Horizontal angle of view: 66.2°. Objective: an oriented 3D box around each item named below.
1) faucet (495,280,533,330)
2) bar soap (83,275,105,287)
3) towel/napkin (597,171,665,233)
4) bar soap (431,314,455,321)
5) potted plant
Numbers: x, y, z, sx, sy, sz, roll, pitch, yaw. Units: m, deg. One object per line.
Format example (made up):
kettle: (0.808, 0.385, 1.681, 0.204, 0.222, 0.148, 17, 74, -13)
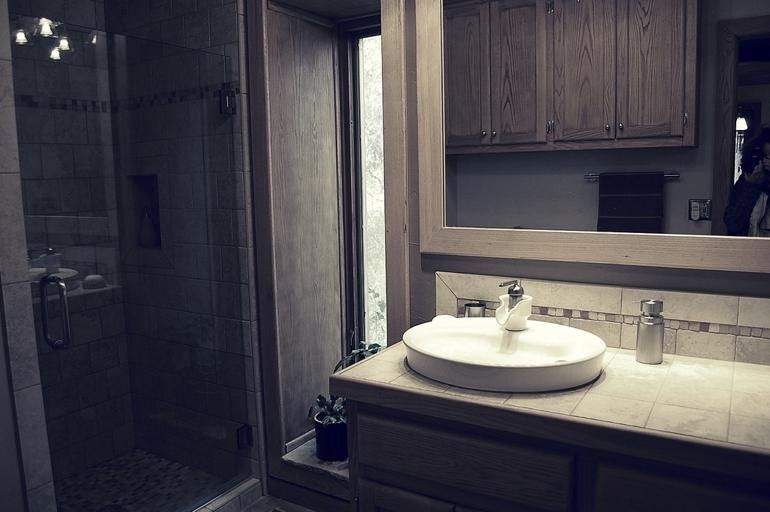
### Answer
faucet: (0.497, 0.195, 2.343, 0.179, 0.194, 0.131, -5, 7, -34)
bar soap: (-1.231, 0.106, 2.509, 0.054, 0.029, 0.054, 2, 5, 28)
towel/napkin: (0.966, -0.203, 2.321, 0.241, 0.286, 0.031, 1, 37, 17)
bar soap: (0.248, 0.260, 2.482, 0.047, 0.010, 0.047, -3, 4, -31)
potted plant: (-0.216, 0.748, 3.054, 0.367, 0.545, 0.242, -14, -20, 34)
